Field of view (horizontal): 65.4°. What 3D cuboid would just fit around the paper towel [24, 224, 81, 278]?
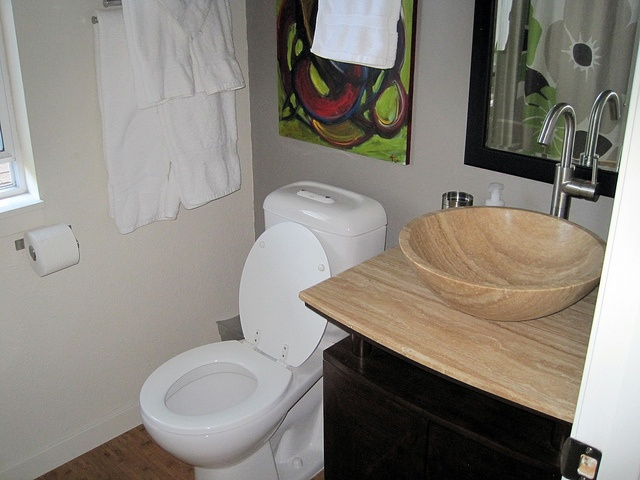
[{"bbox_3d":[-0.896,0.022,1.700,0.167,0.168,0.195,6,7,27],"label":"paper towel"}]

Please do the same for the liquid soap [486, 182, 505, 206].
[{"bbox_3d":[0.481,-0.127,1.366,0.044,0.053,0.117,7,23,18],"label":"liquid soap"}]

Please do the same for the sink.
[{"bbox_3d":[0.408,0.073,1.172,0.428,0.201,0.396,13,26,30],"label":"sink"}]
